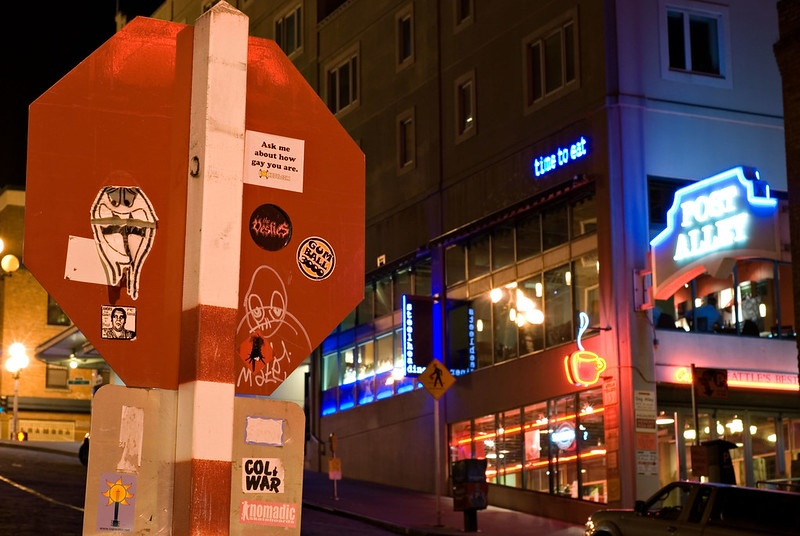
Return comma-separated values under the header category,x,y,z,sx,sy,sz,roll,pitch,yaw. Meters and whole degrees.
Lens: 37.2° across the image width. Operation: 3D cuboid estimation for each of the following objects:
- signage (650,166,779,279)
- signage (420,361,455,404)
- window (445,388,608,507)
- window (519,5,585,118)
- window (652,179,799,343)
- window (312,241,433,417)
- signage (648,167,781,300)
category,x,y,z,sx,sy,sz,roll,pitch,yaw
signage,7.900,-0.977,30.030,0.302,1.698,2.461,12,-22,-27
signage,0.862,2.756,28.878,0.783,0.976,1.054,-1,-8,1
window,3.736,5.075,33.566,0.401,2.963,6.296,3,-9,-28
window,4.464,-5.857,34.353,0.225,3.089,3.045,4,-10,-24
window,8.171,-0.119,30.200,3.308,3.672,1.899,3,-17,-14
window,-0.428,1.855,33.474,2.442,5.027,4.787,8,-16,-26
signage,7.988,-0.670,30.284,0.346,2.133,2.870,14,-24,-28
